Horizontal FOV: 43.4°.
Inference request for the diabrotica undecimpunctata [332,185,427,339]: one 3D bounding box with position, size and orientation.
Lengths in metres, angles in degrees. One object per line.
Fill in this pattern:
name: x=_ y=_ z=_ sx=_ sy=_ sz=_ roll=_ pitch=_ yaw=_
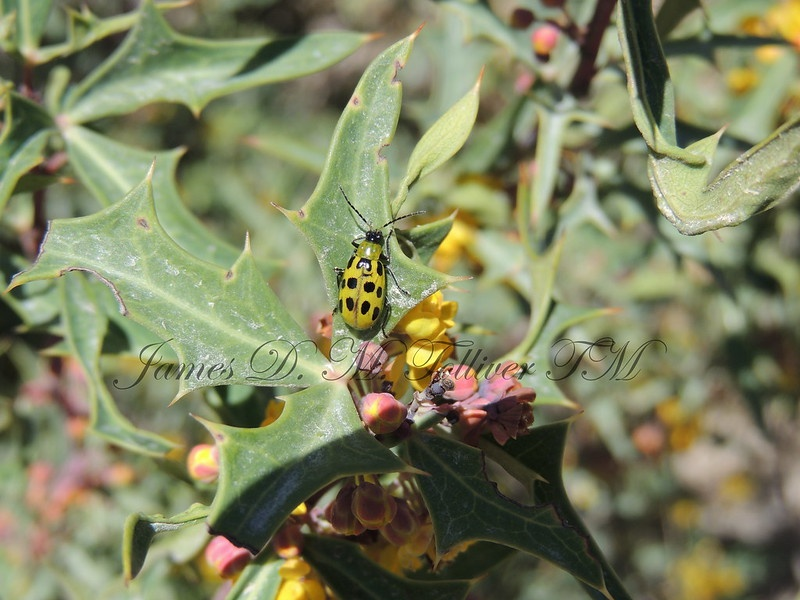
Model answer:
diabrotica undecimpunctata: x=-0.075 y=-0.108 z=2.904 sx=0.254 sy=0.102 sz=0.381 roll=7 pitch=84 yaw=20
